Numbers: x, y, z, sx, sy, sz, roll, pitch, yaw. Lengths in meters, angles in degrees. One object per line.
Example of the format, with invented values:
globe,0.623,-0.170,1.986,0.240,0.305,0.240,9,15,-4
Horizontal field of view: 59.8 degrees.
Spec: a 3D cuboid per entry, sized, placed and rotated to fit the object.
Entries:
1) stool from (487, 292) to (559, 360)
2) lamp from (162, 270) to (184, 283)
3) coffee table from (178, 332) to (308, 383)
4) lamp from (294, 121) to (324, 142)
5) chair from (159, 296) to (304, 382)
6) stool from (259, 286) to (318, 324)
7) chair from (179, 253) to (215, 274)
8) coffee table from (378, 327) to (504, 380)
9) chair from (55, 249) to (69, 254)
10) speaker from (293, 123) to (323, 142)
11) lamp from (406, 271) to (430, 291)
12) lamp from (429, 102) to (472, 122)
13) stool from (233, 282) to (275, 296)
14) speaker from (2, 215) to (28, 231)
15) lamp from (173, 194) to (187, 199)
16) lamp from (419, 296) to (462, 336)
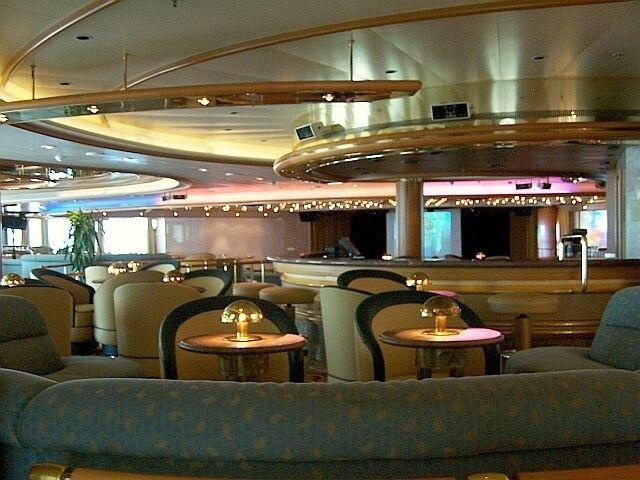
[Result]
stool,2.151,0.855,5.932,0.886,0.594,0.687,0,-6,1
lamp,-1.886,0.455,7.062,0.248,0.124,0.201,-1,3,-10
coffee table,-0.451,0.645,3.191,0.547,0.104,0.443,1,-1,-4
lamp,-0.168,-1.722,8.711,0.160,0.295,0.709,4,0,-28
chair,-0.738,0.634,3.849,1.024,0.755,0.722,0,-15,-12
stool,-0.505,0.833,7.400,0.773,0.368,0.684,1,-1,26
chair,-2.811,0.496,12.631,1.070,0.499,0.895,0,-2,16
coffee table,0.698,0.635,3.393,0.566,0.182,0.499,0,-2,-30
chair,-6.836,0.262,14.568,0.185,0.161,2.021,3,0,-28
speaker,-0.170,-1.707,8.669,0.335,0.207,0.560,-14,8,-31
lamp,1.104,0.432,5.914,0.273,0.146,0.235,-2,4,-26
lamp,1.762,-1.696,7.299,0.515,0.236,0.070,3,0,18
stool,-0.965,0.714,8.042,0.632,0.135,0.508,-1,1,1
speaker,-12.293,-0.702,22.092,0.967,0.458,0.769,0,-2,2
lamp,-5.238,-1.620,20.509,0.606,0.142,0.166,-1,0,-14
lamp,0.768,0.480,3.560,0.353,0.220,0.283,0,-2,-1
